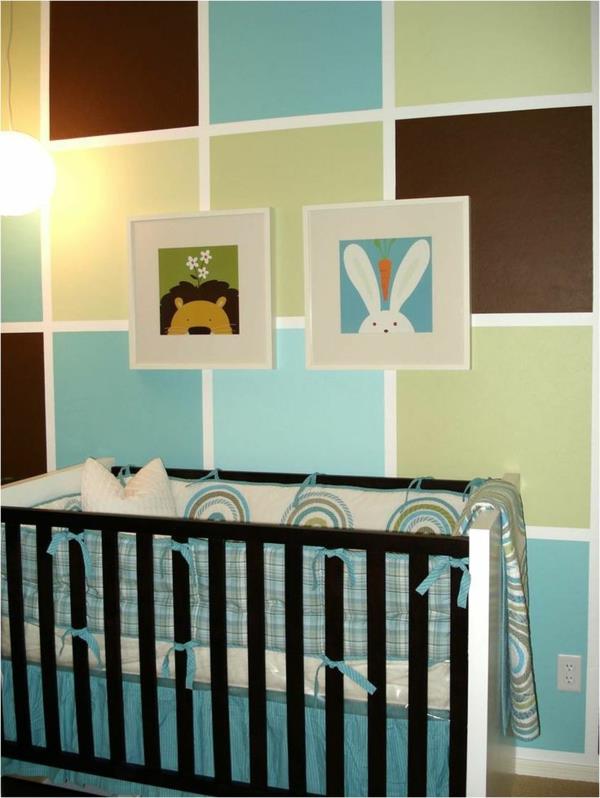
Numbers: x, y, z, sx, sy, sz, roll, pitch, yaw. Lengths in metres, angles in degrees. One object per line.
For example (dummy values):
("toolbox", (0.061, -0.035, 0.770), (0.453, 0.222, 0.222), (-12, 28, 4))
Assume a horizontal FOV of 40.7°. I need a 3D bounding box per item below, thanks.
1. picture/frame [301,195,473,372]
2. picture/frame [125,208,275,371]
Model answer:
("picture/frame", (0.265, -0.333, 2.261), (0.349, 0.485, 0.018), (0, 1, 16))
("picture/frame", (-0.279, -0.337, 2.432), (0.349, 0.470, 0.043), (1, 2, 19))
